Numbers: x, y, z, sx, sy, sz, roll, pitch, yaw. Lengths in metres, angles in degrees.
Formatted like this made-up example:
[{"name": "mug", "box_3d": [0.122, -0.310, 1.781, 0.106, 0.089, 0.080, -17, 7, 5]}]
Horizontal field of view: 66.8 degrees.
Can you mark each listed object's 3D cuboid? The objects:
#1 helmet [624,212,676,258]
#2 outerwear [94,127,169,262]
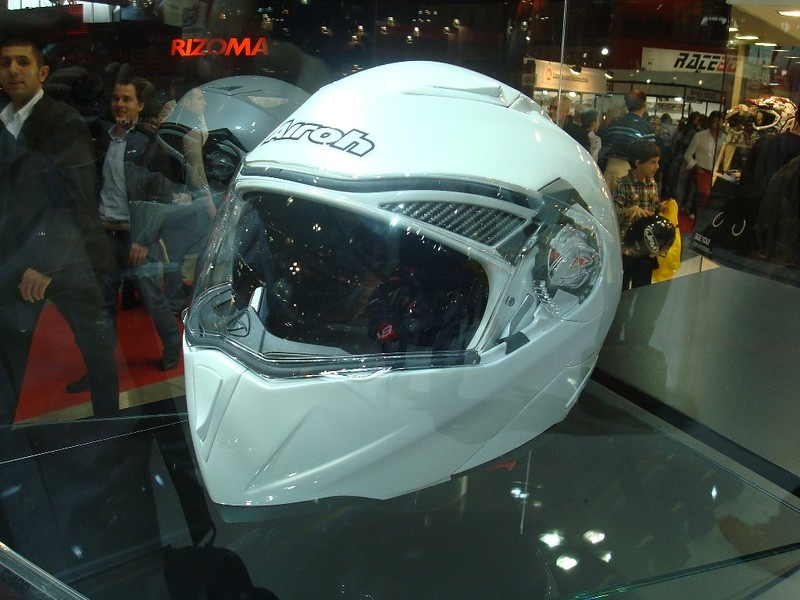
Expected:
[{"name": "helmet", "box_3d": [0.799, -0.225, 1.996, 0.102, 0.132, 0.146, 17, 22, -21]}, {"name": "outerwear", "box_3d": [-0.970, -0.430, 2.417, 0.295, 0.439, 0.400, 8, -5, 0]}]
